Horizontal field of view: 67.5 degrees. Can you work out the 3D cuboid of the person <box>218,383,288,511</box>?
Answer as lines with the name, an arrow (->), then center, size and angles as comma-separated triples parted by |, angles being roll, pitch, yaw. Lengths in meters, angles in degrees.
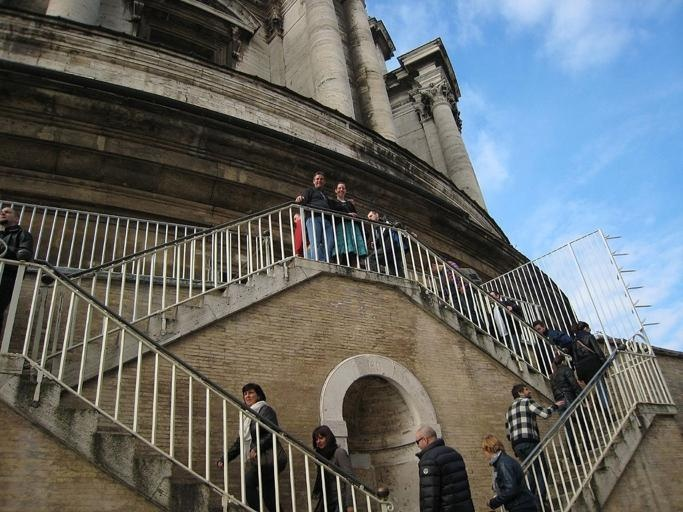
person -> -1.036, 2.233, 5.807 | 0.783, 1.646, 0.673 | 21, -57, -28

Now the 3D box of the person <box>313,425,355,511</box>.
person -> -0.128, 2.550, 6.223 | 0.469, 1.130, 1.283 | -4, -33, -5

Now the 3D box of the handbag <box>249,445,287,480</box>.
handbag -> -0.787, 2.286, 5.677 | 0.444, 0.394, 0.300 | -5, -14, 2

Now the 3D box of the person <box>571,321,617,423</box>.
person -> 4.821, 2.143, 9.766 | 0.599, 1.830, 0.555 | 7, -29, -23

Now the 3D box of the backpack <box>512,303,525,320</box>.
backpack -> 4.139, 1.325, 12.003 | 0.144, 0.348, 0.334 | -10, -67, 44

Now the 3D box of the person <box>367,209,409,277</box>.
person -> 0.909, -0.219, 10.334 | 0.999, 1.548, 0.706 | -9, -33, 6
